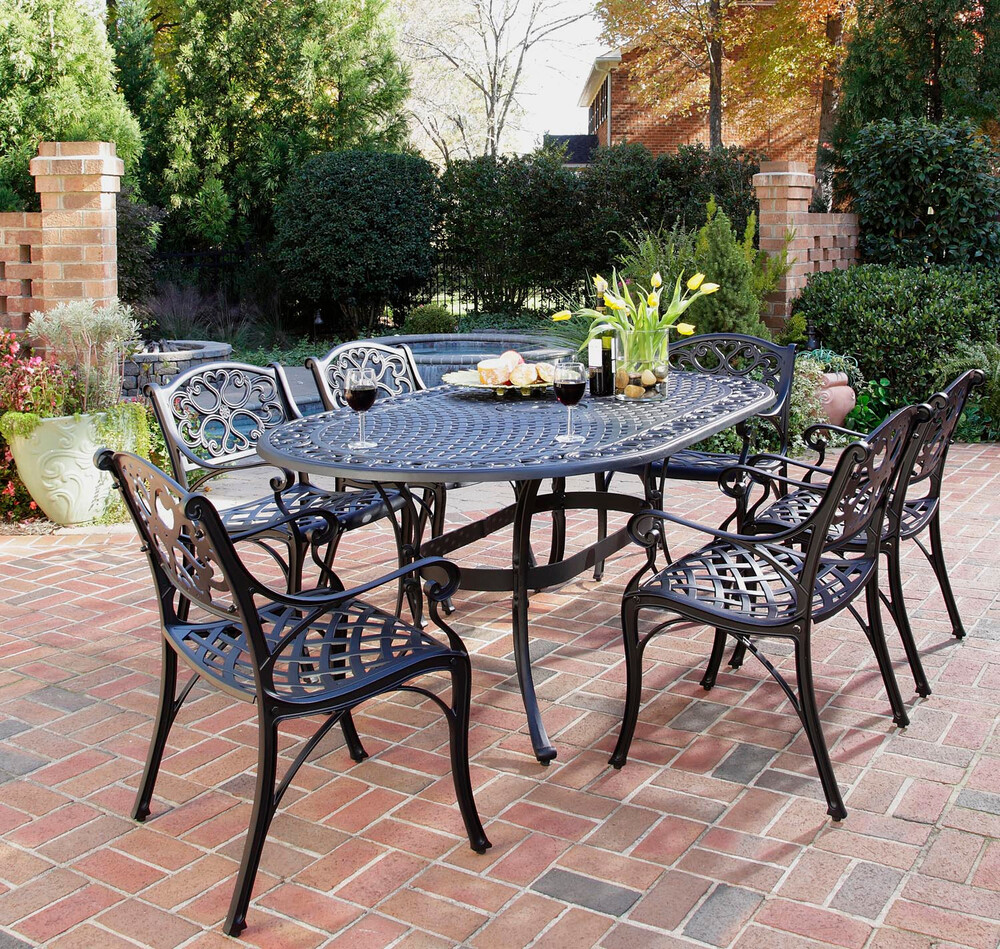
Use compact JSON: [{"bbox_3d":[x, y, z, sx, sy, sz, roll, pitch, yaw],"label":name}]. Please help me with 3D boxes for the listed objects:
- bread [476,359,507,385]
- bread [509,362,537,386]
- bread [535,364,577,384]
[{"bbox_3d":[-0.035,-0.400,3.750,0.124,0.058,0.109,3,9,19],"label":"bread"},{"bbox_3d":[0.086,-0.381,3.703,0.104,0.025,0.086,2,52,7],"label":"bread"},{"bbox_3d":[0.185,-0.346,3.337,0.148,0.049,0.145,7,14,7],"label":"bread"}]
